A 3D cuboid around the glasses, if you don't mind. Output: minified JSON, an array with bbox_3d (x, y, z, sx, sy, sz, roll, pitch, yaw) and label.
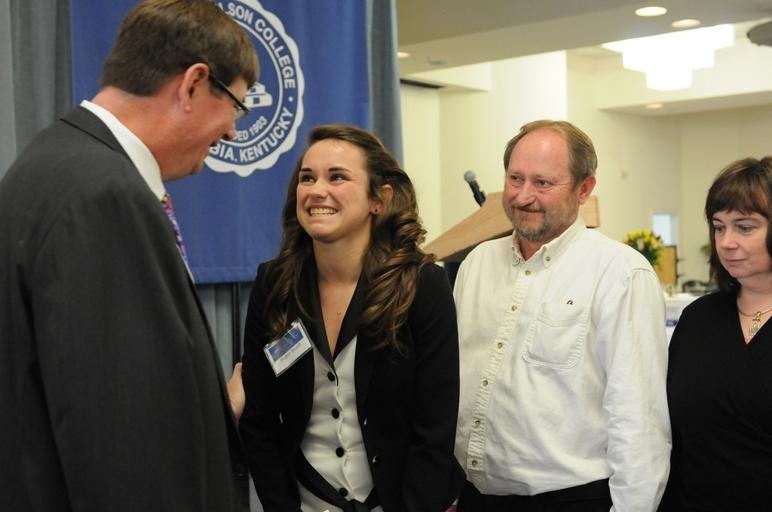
[{"bbox_3d":[-0.514,-0.510,2.330,0.140,0.144,0.044,25,62,31],"label":"glasses"}]
